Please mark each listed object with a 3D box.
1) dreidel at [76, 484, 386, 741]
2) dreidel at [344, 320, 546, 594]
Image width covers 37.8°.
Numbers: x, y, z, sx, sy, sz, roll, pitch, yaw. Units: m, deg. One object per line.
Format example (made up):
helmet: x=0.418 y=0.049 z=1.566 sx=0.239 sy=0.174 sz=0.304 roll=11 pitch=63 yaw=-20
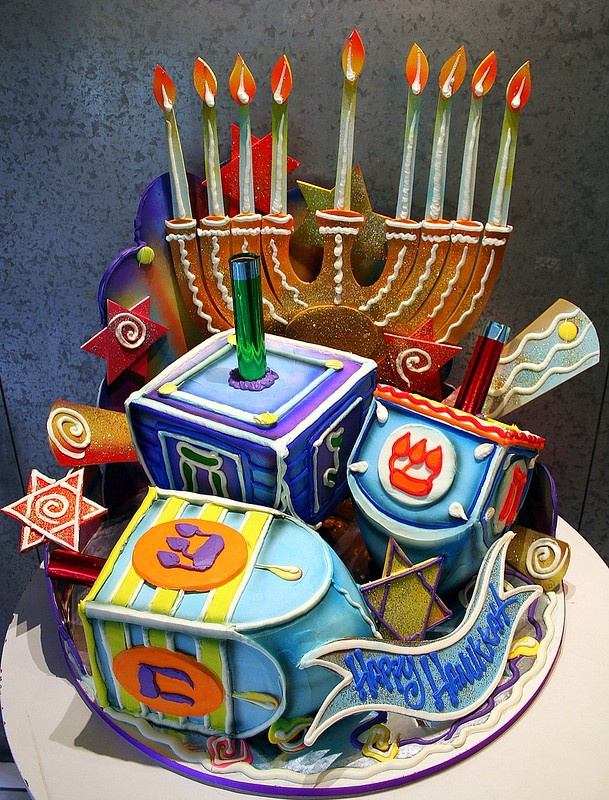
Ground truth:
dreidel: x=-0.084 y=0.276 z=1.137 sx=0.318 sy=0.219 sz=0.258 roll=13 pitch=43 yaw=8
dreidel: x=0.243 y=0.037 z=1.387 sx=0.256 sy=0.246 sz=0.447 roll=16 pitch=56 yaw=26
